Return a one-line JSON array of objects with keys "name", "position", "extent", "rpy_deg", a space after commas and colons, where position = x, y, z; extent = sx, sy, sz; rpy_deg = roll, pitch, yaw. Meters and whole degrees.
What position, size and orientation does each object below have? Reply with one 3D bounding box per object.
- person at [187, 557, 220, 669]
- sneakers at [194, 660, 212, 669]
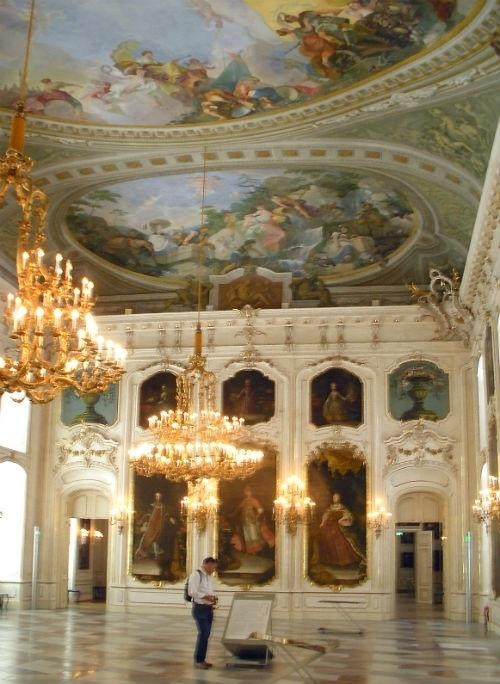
[{"name": "person", "position": [-0.669, 3.577, 9.625], "extent": [0.417, 1.396, 0.955], "rpy_deg": [2, -14, -4]}, {"name": "sneakers", "position": [-0.611, 4.165, 9.352], "extent": [0.226, 0.059, 0.195], "rpy_deg": [1, -13, -4]}]
